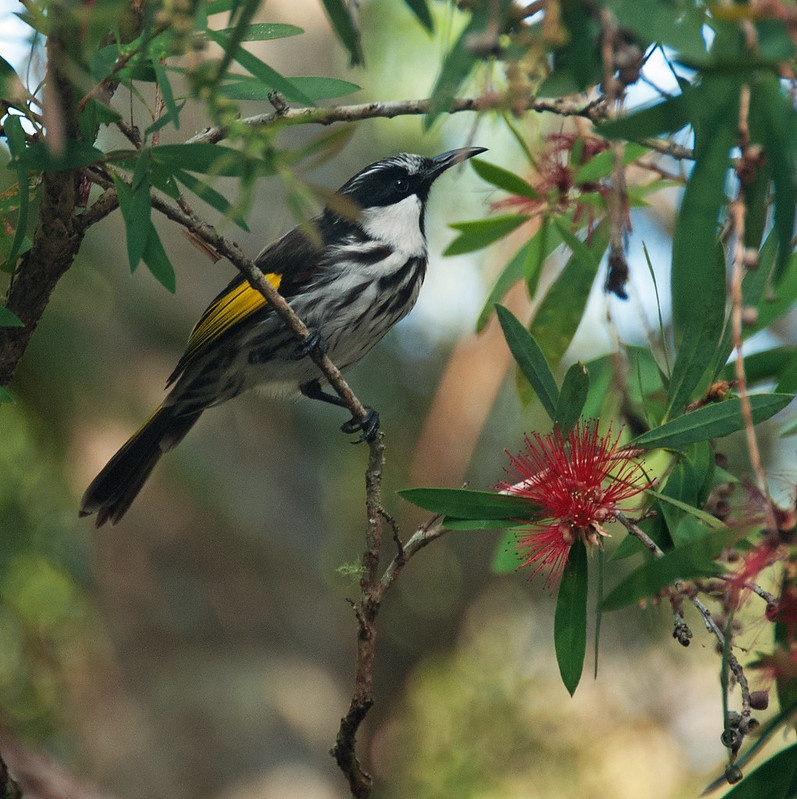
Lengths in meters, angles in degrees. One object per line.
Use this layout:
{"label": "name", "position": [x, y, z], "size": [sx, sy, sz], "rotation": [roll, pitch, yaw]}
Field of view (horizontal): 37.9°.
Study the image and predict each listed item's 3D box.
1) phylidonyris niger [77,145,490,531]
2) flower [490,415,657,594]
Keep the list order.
{"label": "phylidonyris niger", "position": [-0.283, -0.148, 2.576], "size": [1.041, 0.516, 0.318], "rotation": [-21, -28, 15]}
{"label": "flower", "position": [0.272, 0.141, 1.813], "size": [0.234, 0.150, 0.207], "rotation": [-11, 10, -7]}
